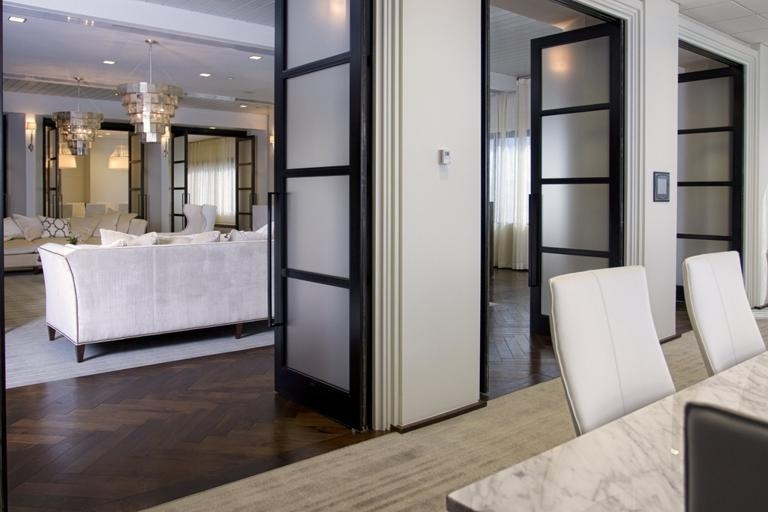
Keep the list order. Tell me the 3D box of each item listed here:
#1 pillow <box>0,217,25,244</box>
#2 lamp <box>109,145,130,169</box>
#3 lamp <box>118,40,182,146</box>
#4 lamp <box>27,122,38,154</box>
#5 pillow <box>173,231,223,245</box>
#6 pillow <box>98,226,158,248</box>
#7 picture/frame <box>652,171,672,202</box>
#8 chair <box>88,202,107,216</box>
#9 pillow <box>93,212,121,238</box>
[{"bbox_3d":[-6.437,-0.463,9.177,0.259,0.337,0.747,-6,12,-34],"label":"pillow"},{"bbox_3d":[-6.790,-2.545,13.578,0.417,0.557,1.583,-4,11,-25],"label":"lamp"},{"bbox_3d":[-3.468,-2.375,7.899,0.814,1.293,1.821,-4,10,-22],"label":"lamp"},{"bbox_3d":[-6.921,-2.342,10.369,0.161,0.566,0.093,-1,10,-9],"label":"lamp"},{"bbox_3d":[-1.927,-0.186,5.390,0.476,0.084,0.482,-1,10,-10],"label":"pillow"},{"bbox_3d":[-3.205,-0.252,6.579,0.459,0.140,0.456,5,10,-18],"label":"pillow"},{"bbox_3d":[2.851,-0.722,5.453,0.338,0.393,0.068,-1,0,-38],"label":"picture/frame"},{"bbox_3d":[-7.322,-1.201,13.454,0.439,0.325,0.440,2,4,5],"label":"chair"},{"bbox_3d":[-5.618,-0.705,10.791,0.650,0.618,0.192,3,-22,13],"label":"pillow"}]
